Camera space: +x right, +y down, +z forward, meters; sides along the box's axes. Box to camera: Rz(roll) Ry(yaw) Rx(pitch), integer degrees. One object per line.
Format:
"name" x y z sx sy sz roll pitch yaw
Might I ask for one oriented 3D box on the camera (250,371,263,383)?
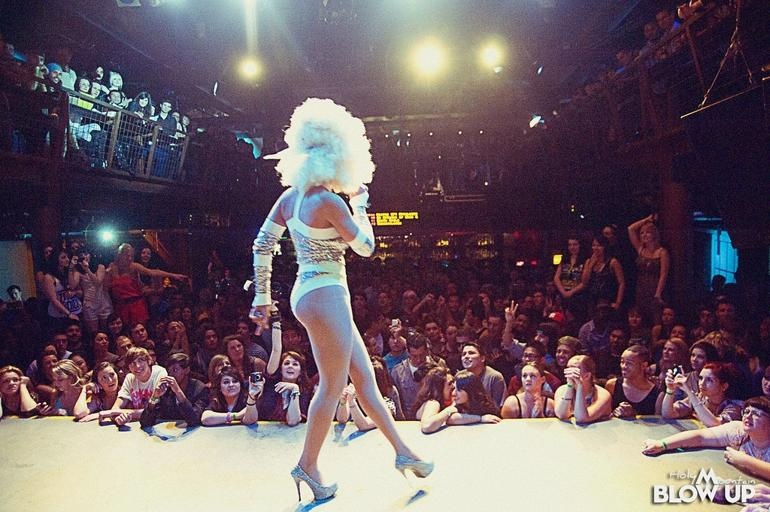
"camera" -1.487 1.416 6.248 0.101 0.118 0.120 -3 -5 -7

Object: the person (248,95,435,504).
"person" -0.564 0.420 5.324 1.469 3.948 0.615 0 -6 11
